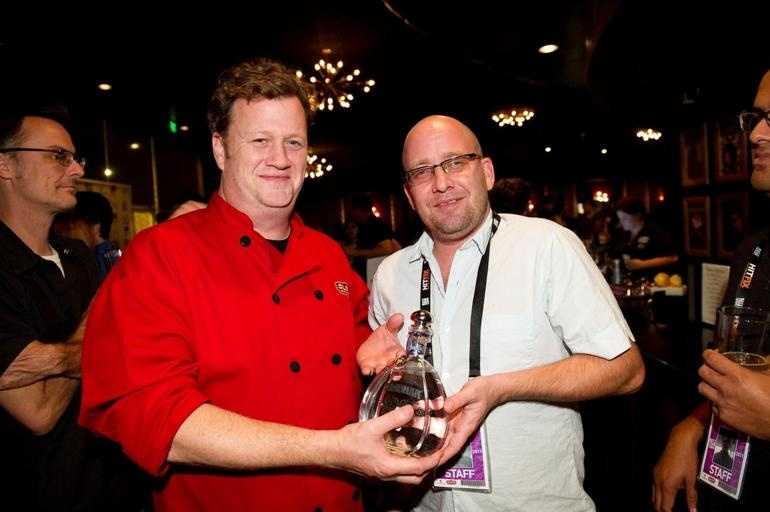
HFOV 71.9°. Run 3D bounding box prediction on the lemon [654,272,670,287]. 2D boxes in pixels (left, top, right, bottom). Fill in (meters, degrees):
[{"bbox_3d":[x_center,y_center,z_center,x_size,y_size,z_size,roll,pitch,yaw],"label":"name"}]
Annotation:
[{"bbox_3d":[3.167,0.268,6.043,0.161,0.187,0.160,1,0,10],"label":"lemon"}]
